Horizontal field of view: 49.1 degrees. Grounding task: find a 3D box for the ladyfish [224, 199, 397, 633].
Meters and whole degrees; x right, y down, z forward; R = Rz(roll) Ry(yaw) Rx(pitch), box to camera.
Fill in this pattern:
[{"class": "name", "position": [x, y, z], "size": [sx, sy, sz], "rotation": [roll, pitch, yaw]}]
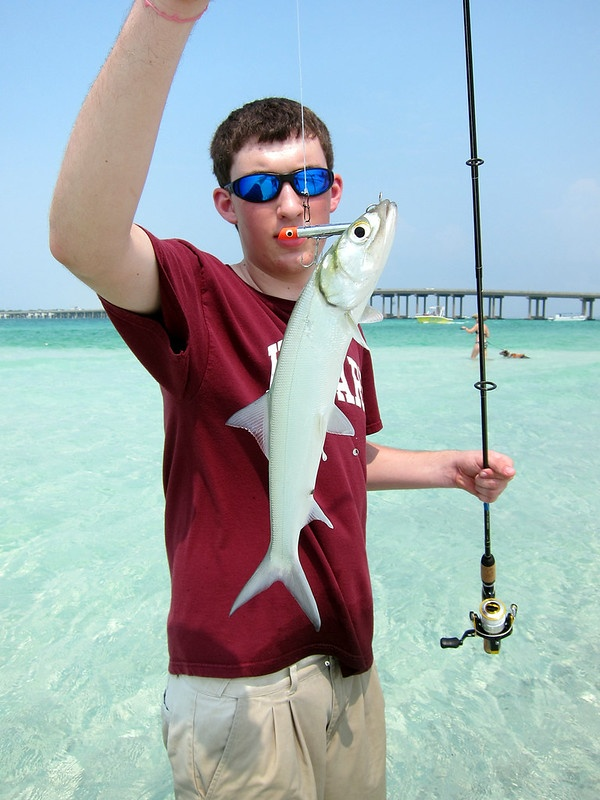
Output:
[{"class": "ladyfish", "position": [0.023, 0.038, 1.538], "size": [0.380, 0.979, 0.171], "rotation": [-1, 5, -7]}]
